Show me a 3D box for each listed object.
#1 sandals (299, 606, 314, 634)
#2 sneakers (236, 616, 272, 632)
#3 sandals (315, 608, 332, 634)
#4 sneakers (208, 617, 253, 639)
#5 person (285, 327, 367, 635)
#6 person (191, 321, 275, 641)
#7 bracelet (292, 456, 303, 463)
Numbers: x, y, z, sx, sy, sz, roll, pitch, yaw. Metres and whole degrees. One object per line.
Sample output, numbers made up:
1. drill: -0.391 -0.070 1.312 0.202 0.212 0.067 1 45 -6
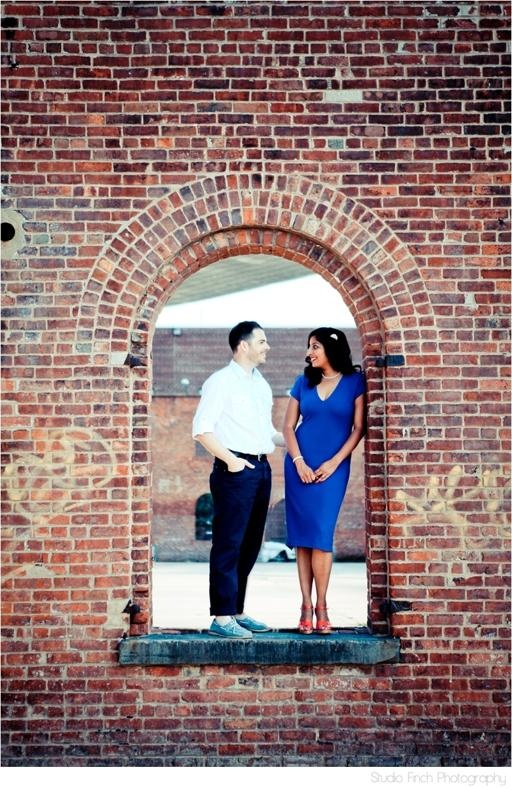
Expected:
1. sandals: 0.268 1.197 8.266 0.079 0.148 0.115 1 -6 2
2. sneakers: -0.019 1.251 8.427 0.207 0.085 0.073 7 -6 10
3. sandals: 0.365 1.210 8.331 0.089 0.135 0.251 1 -6 3
4. sneakers: -0.134 1.234 8.218 0.221 0.093 0.090 4 -6 8
5. person: 0.366 0.454 8.390 0.438 1.651 0.392 1 -6 0
6. person: -0.106 0.442 8.319 0.450 1.691 0.632 1 -6 0
7. bracelet: 0.227 0.341 8.315 0.050 0.045 0.064 2 -6 0
